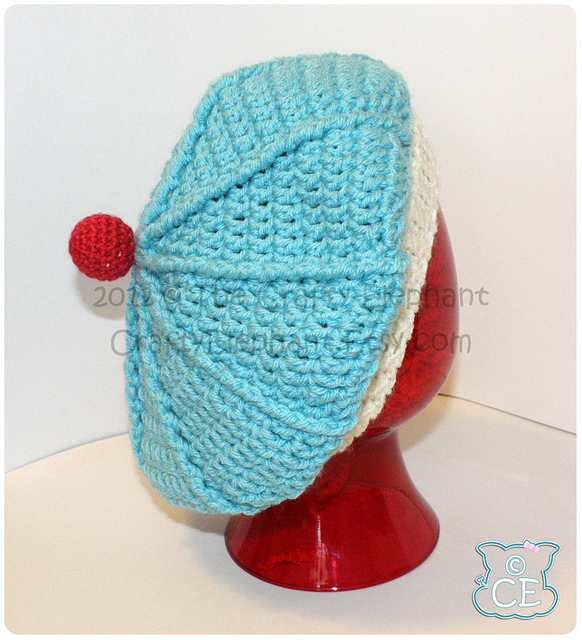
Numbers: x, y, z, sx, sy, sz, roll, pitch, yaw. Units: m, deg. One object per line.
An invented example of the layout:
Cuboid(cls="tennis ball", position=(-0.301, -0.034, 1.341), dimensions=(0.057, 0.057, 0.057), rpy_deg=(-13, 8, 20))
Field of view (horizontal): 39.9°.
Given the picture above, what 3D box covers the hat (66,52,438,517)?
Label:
Cuboid(cls="hat", position=(-0.065, -0.008, 1.366), dimensions=(0.426, 0.767, 0.616), rpy_deg=(9, 24, -27))
